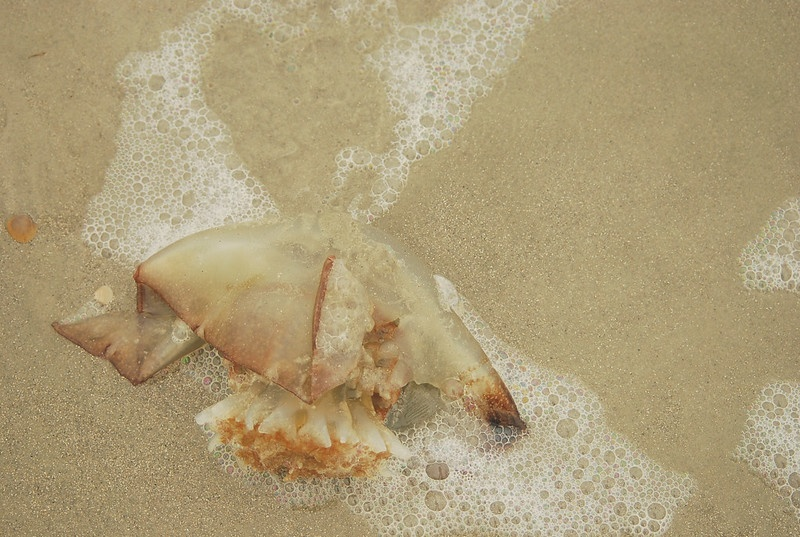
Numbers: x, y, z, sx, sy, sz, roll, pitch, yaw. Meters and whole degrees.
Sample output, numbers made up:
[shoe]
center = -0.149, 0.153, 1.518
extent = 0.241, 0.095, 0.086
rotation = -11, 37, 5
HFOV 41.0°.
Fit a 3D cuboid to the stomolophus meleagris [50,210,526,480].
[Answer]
[stomolophus meleagris]
center = -0.302, 0.292, 4.330
extent = 1.205, 0.361, 1.318
rotation = -28, 81, -5
